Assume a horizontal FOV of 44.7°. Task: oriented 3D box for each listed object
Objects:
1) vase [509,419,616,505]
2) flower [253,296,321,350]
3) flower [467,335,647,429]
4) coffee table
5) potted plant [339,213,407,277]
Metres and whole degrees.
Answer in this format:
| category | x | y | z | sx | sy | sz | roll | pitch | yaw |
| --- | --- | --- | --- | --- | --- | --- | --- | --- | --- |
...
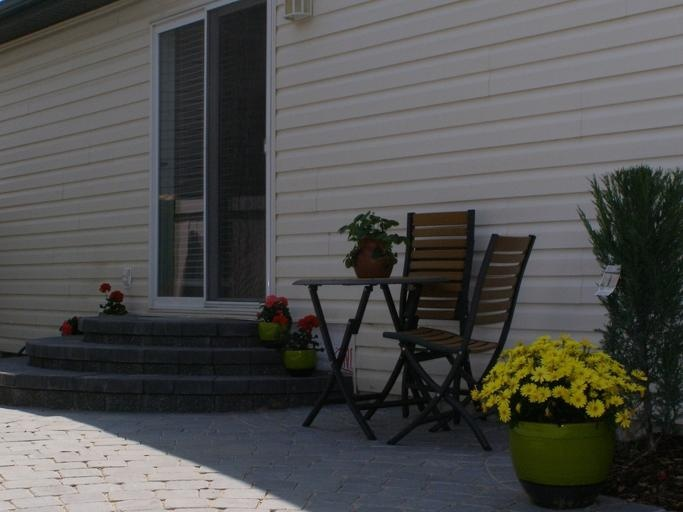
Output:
| category | x | y | z | sx | sy | sz | roll | pitch | yaw |
| --- | --- | --- | --- | --- | --- | --- | --- | --- | --- |
| vase | 1.194 | 1.052 | 4.404 | 0.526 | 0.329 | 0.492 | 3 | -10 | -18 |
| flower | -0.435 | 0.556 | 6.881 | 0.452 | 0.278 | 0.540 | 6 | -4 | -41 |
| flower | 1.195 | 0.689 | 4.583 | 0.784 | 0.339 | 0.638 | 0 | 2 | 0 |
| coffee table | 0.162 | 0.708 | 6.210 | 1.217 | 1.067 | 1.205 | -2 | -3 | 45 |
| potted plant | 0.230 | -0.065 | 6.061 | 0.579 | 0.464 | 0.475 | -3 | 3 | -13 |
